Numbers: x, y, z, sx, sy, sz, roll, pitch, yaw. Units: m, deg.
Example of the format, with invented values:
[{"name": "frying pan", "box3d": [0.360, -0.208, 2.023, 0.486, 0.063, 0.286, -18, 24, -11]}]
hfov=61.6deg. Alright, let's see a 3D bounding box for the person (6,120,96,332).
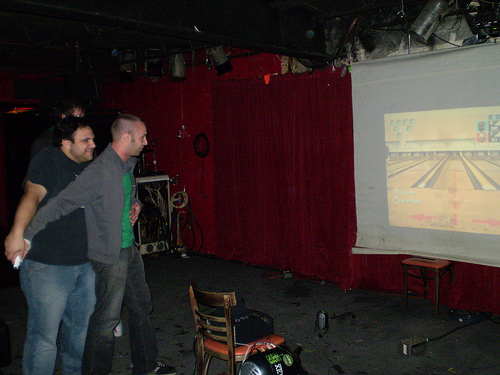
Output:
[{"name": "person", "box3d": [-1.553, 0.350, 3.314, 0.326, 1.742, 0.796, 5, 11, 40]}]
